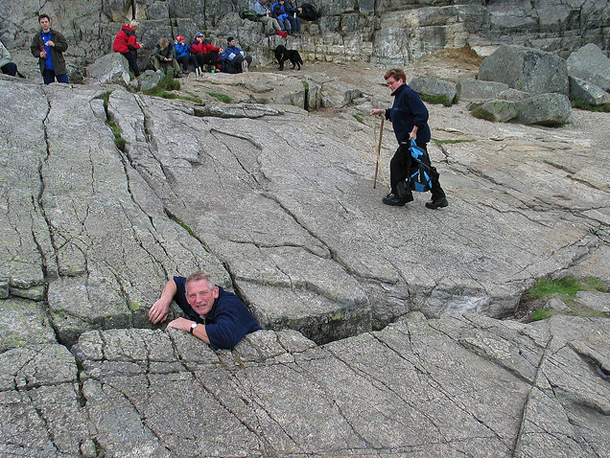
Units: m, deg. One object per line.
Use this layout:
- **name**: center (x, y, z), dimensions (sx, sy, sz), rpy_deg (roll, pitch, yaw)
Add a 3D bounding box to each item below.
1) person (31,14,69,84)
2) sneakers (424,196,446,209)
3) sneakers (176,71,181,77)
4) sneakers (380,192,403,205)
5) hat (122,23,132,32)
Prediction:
- **person**: center (-6.138, -4.306, 12.556), dimensions (0.771, 1.555, 1.566), rpy_deg (-5, 22, -24)
- **sneakers**: center (2.228, -0.444, 8.862), dimensions (0.152, 0.206, 0.414), rpy_deg (-32, 26, -30)
- **sneakers**: center (-4.495, -5.477, 18.484), dimensions (0.228, 0.128, 0.231), rpy_deg (5, 35, 4)
- **sneakers**: center (1.484, -0.533, 8.934), dimensions (0.387, 0.200, 0.170), rpy_deg (13, 39, 8)
- **hat**: center (-6.094, -6.871, 17.892), dimensions (0.336, 0.276, 0.432), rpy_deg (4, 20, -2)
